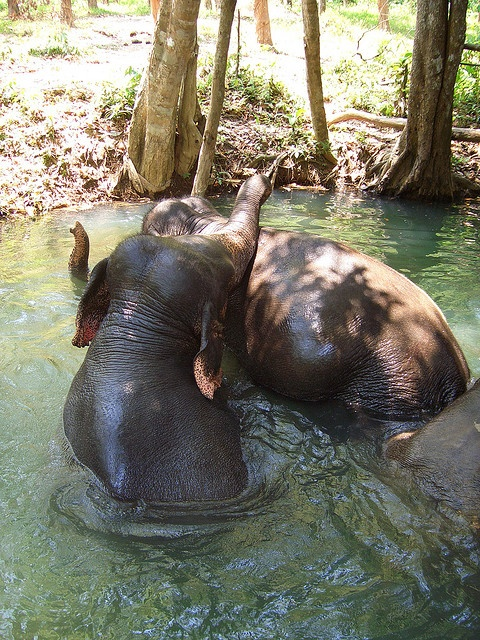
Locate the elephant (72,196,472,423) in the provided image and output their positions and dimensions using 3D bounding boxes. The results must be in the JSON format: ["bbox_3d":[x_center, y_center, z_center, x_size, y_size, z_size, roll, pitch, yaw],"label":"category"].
[{"bbox_3d":[0.000,0.021,3.467,2.497,1.259,0.950,12,40,10],"label":"elephant"}]

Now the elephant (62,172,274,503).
[{"bbox_3d":[-0.289,0.113,2.566,0.643,1.348,0.796,7,-16,10],"label":"elephant"}]
